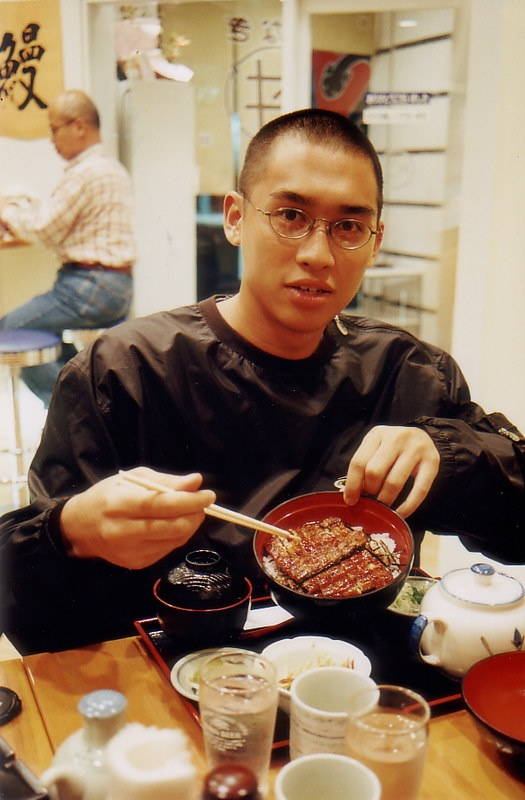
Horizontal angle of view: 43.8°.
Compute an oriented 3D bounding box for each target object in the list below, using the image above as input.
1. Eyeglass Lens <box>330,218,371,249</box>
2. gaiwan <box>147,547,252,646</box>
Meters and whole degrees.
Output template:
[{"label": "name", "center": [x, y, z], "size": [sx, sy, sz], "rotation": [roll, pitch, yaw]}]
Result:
[{"label": "Eyeglass Lens", "center": [0.201, -0.377, 1.494], "size": [0.124, 0.069, 0.030], "rotation": [-10, 16, -44]}, {"label": "gaiwan", "center": [-0.108, 0.341, 1.175], "size": [0.148, 0.104, 0.152], "rotation": [1, 2, 0]}]
